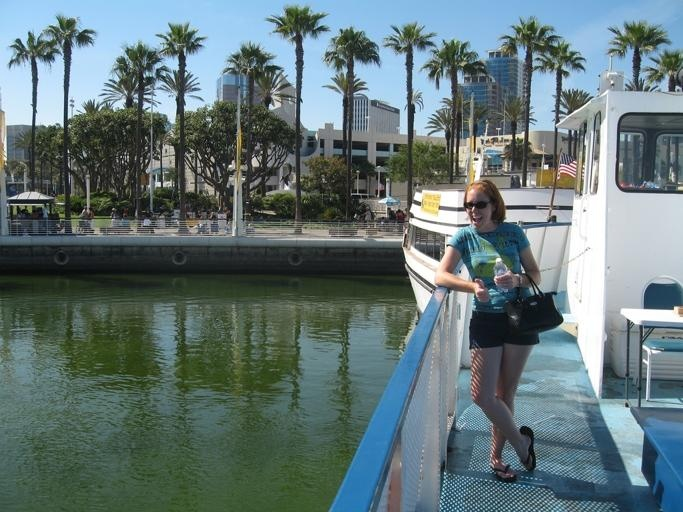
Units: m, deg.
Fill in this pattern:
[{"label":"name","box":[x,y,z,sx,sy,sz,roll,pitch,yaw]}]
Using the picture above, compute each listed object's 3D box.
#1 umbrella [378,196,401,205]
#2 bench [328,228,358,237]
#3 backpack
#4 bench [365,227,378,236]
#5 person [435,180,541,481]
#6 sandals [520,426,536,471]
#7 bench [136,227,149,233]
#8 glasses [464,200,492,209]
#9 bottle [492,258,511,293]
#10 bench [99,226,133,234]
[{"label":"umbrella","box":[4.376,-4.923,56.877,1.388,0.618,1.444,-2,4,-35]},{"label":"bench","box":[0.116,-1.410,38.309,1.965,0.542,1.172,-6,6,-33]},{"label":"backpack","box":[1.495,0.438,4.829,0.451,0.307,0.157,-4,5,-18]},{"label":"bench","box":[1.883,-1.406,38.382,0.527,0.526,0.112,1,-5,-23]},{"label":"person","box":[1.188,0.622,4.976,0.838,2.428,0.554,-2,5,2]},{"label":"sandals","box":[1.576,1.617,5.278,0.132,0.403,0.092,1,9,33]},{"label":"bench","box":[-12.305,-1.560,38.922,0.795,0.336,0.911,-4,5,-18]},{"label":"glasses","box":[1.055,-0.397,4.924,0.086,0.068,0.212,-7,7,-44]},{"label":"bottle","box":[1.230,0.158,4.792,0.118,0.273,0.267,-1,5,14]},{"label":"bench","box":[-13.404,-1.474,37.268,1.949,0.446,1.108,-6,6,-30]}]
